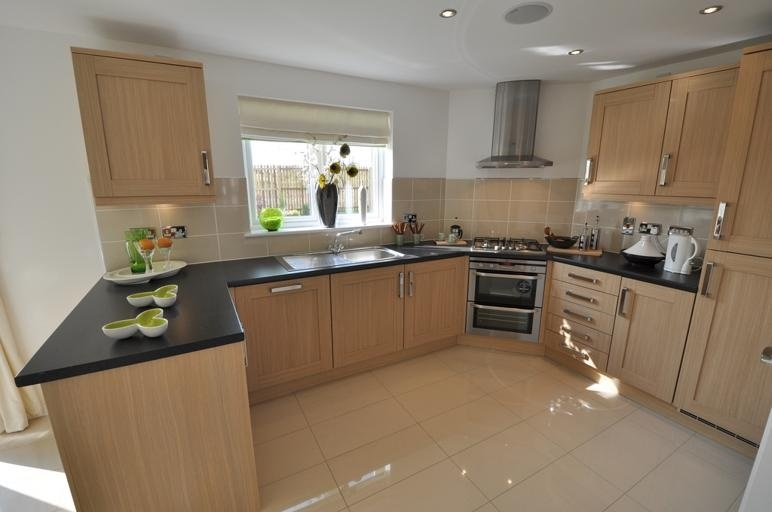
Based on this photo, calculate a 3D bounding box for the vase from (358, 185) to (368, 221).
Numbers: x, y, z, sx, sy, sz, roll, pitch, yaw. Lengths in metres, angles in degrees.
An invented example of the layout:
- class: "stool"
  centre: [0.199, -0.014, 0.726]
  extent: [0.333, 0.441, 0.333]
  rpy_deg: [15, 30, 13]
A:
- class: "vase"
  centre: [-0.248, -0.554, 5.054]
  extent: [0.088, 0.404, 0.108]
  rpy_deg: [-3, 14, -6]

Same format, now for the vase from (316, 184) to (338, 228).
- class: "vase"
  centre: [-0.608, -0.527, 4.841]
  extent: [0.221, 0.460, 0.114]
  rpy_deg: [-4, 14, -8]

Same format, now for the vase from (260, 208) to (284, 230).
- class: "vase"
  centre: [-1.123, -0.365, 4.563]
  extent: [0.231, 0.208, 0.218]
  rpy_deg: [-1, 7, -14]

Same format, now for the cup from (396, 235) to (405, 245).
- class: "cup"
  centre: [0.150, -0.180, 5.144]
  extent: [0.113, 0.109, 0.100]
  rpy_deg: [-4, 17, -15]

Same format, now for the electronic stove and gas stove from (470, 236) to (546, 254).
- class: "electronic stove and gas stove"
  centre: [1.316, -0.127, 5.022]
  extent: [0.748, 0.070, 0.599]
  rpy_deg: [2, 12, 16]

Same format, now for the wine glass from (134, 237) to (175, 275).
- class: "wine glass"
  centre: [-1.988, -0.003, 3.959]
  extent: [0.150, 0.285, 0.320]
  rpy_deg: [6, 8, 34]

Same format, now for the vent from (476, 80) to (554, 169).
- class: "vent"
  centre: [1.421, -1.414, 5.199]
  extent: [0.876, 0.791, 0.716]
  rpy_deg: [3, 16, 13]

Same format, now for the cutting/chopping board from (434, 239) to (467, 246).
- class: "cutting/chopping board"
  centre: [0.723, -0.148, 5.177]
  extent: [0.360, 0.030, 0.267]
  rpy_deg: [-1, 12, 2]

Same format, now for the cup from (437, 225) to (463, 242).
- class: "cup"
  centre: [0.765, -0.274, 5.326]
  extent: [0.313, 0.213, 0.169]
  rpy_deg: [-10, 17, -35]

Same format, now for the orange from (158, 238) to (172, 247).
- class: "orange"
  centre: [-1.901, -0.115, 3.992]
  extent: [0.070, 0.083, 0.088]
  rpy_deg: [4, -6, -29]

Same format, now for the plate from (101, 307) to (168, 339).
- class: "plate"
  centre: [-1.657, 0.462, 3.109]
  extent: [0.267, 0.067, 0.260]
  rpy_deg: [-1, 11, 20]

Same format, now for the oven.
- class: "oven"
  centre: [1.339, 0.472, 5.037]
  extent: [0.811, 0.810, 0.634]
  rpy_deg: [4, 2, 24]
